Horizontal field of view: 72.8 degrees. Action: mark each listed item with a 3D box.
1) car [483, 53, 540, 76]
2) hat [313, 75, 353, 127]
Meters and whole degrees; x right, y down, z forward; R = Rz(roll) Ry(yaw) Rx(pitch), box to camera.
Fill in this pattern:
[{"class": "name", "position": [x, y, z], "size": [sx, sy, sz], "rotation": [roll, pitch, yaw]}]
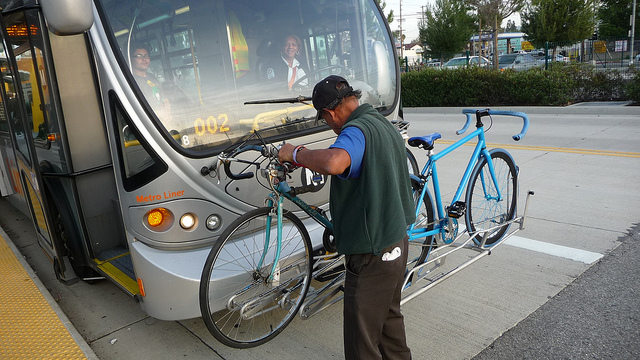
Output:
[{"class": "car", "position": [12.222, -7.399, 27.133], "size": [1.929, 0.813, 3.061], "rotation": [-2, 17, 6]}, {"class": "hat", "position": [0.135, -0.840, 4.446], "size": [0.378, 0.430, 0.216], "rotation": [-12, 19, -27]}]
